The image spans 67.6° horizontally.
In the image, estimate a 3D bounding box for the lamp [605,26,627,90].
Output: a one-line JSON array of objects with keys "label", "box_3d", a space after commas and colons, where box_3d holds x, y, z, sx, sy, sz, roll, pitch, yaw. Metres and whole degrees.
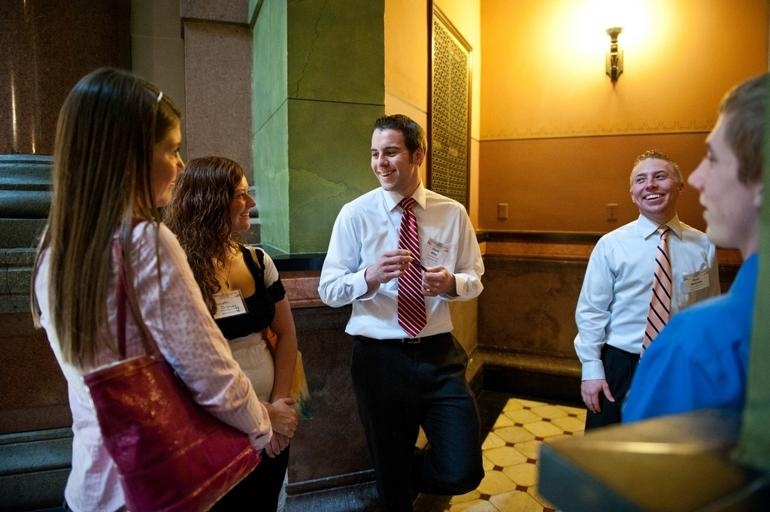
[{"label": "lamp", "box_3d": [1.842, -1.606, 4.620, 0.146, 0.426, 0.127, 1, 10, 15]}]

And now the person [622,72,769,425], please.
[{"label": "person", "box_3d": [0.778, 0.000, 1.458, 0.279, 0.889, 0.273, 4, 11, 32]}]

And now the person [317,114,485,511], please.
[{"label": "person", "box_3d": [0.087, 0.289, 2.968, 0.811, 2.008, 0.588, 0, 9, 9]}]
